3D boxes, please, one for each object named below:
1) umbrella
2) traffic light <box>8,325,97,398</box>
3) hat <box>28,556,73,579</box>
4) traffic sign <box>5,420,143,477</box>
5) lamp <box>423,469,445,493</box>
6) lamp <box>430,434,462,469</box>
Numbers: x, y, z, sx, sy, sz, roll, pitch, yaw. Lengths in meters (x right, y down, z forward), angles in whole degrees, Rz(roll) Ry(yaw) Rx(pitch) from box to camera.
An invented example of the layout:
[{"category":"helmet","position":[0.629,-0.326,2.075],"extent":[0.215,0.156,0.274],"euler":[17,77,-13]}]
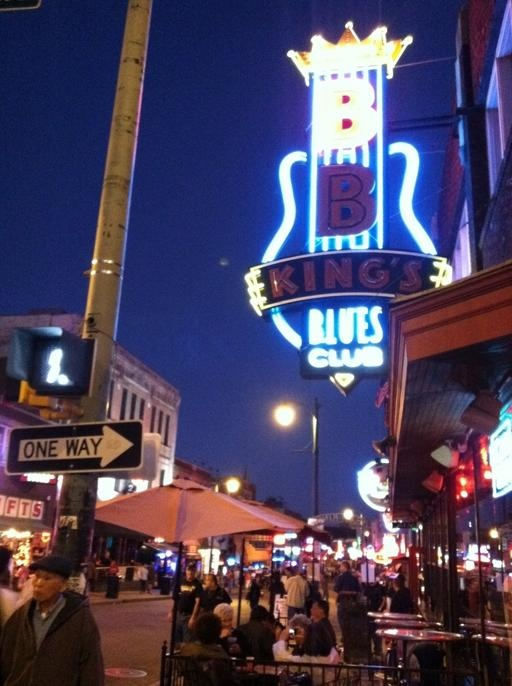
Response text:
[{"category":"umbrella","position":[-0.967,2.747,7.961],"extent":[2.645,1.868,2.614],"euler":[0,-12,7]},{"category":"traffic light","position":[-1.395,0.129,4.313],"extent":[0.533,0.536,0.506],"euler":[1,0,-1]},{"category":"hat","position":[-1.119,1.226,3.334],"extent":[0.183,0.083,0.133],"euler":[24,-26,-17]},{"category":"traffic sign","position":[-1.255,0.718,4.155],"extent":[1.088,0.342,0.186],"euler":[-6,-23,22]},{"category":"lamp","position":[3.234,2.499,11.078],"extent":[0.353,0.367,0.735],"euler":[-3,-22,15]},{"category":"lamp","position":[2.685,1.574,8.491],"extent":[0.376,0.428,1.077],"euler":[-4,-22,18]}]
